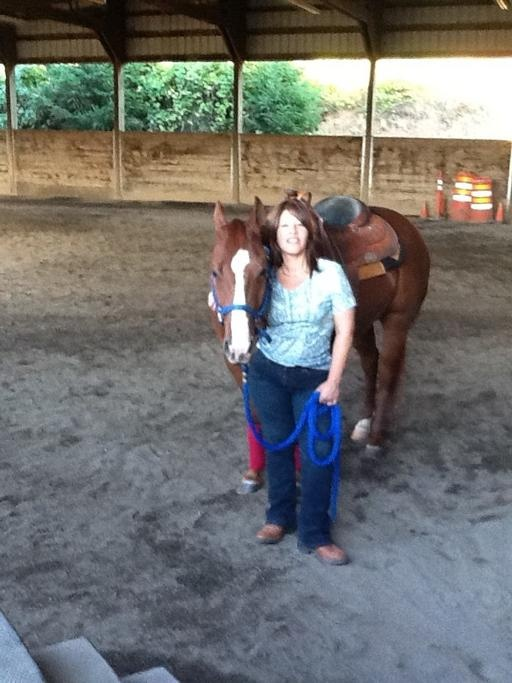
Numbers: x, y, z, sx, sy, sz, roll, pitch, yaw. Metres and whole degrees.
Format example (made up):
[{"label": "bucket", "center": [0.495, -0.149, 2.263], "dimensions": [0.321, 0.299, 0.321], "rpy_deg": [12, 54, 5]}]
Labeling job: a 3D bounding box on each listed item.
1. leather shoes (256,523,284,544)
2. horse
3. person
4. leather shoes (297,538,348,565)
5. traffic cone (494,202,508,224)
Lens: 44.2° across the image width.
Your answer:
[{"label": "leather shoes", "center": [0.049, 0.790, 2.590], "dimensions": [0.064, 0.053, 0.133], "rpy_deg": [-2, -9, 17]}, {"label": "horse", "center": [0.295, -0.045, 3.101], "dimensions": [0.556, 1.334, 2.120], "rpy_deg": [10, 17, 23]}, {"label": "person", "center": [0.107, 0.212, 2.289], "dimensions": [0.548, 1.422, 0.521], "rpy_deg": [1, 17, -5]}, {"label": "leather shoes", "center": [0.282, 0.834, 2.532], "dimensions": [0.207, 0.084, 0.076], "rpy_deg": [3, 16, 29]}, {"label": "traffic cone", "center": [4.382, -2.305, 11.237], "dimensions": [0.185, 0.344, 0.555], "rpy_deg": [8, 17, 18]}]
